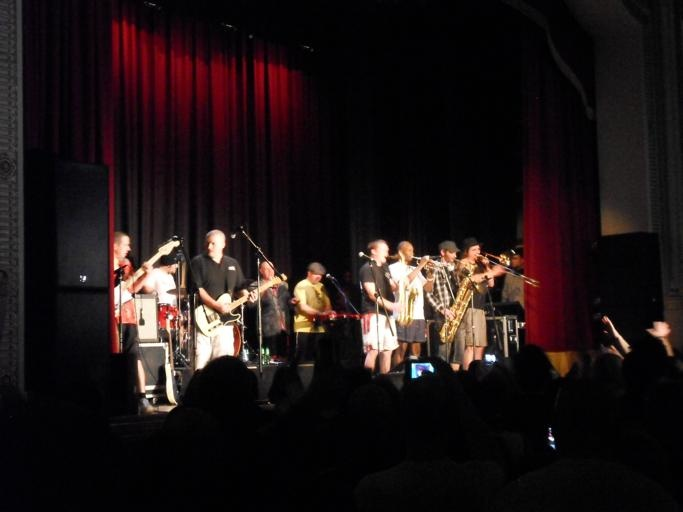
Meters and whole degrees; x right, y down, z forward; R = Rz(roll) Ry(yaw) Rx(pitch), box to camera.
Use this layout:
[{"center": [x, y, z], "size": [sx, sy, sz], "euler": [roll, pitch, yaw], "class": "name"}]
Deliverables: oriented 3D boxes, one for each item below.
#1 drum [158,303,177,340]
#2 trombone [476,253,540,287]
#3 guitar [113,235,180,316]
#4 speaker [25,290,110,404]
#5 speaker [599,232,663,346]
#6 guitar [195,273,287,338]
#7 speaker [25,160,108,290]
[{"center": [-1.760, 0.679, 6.489], "size": [0.288, 0.307, 0.300], "euler": [-1, -1, 34], "class": "drum"}, {"center": [2.207, 0.146, 8.260], "size": [0.545, 0.504, 0.654], "euler": [0, -1, -42], "class": "trombone"}, {"center": [-2.007, 0.216, 6.254], "size": [0.540, 0.962, 0.512], "euler": [1, 2, -16], "class": "guitar"}, {"center": [-1.849, 0.576, 4.187], "size": [0.493, 0.718, 0.214], "euler": [-1, -2, -24], "class": "speaker"}, {"center": [3.193, 0.312, 6.919], "size": [0.461, 1.258, 0.578], "euler": [3, 0, 23], "class": "speaker"}, {"center": [-1.133, 0.541, 6.967], "size": [0.783, 0.269, 0.101], "euler": [-32, 14, -28], "class": "guitar"}, {"center": [-1.901, -0.243, 4.310], "size": [0.533, 0.942, 0.173], "euler": [-1, -2, -26], "class": "speaker"}]
